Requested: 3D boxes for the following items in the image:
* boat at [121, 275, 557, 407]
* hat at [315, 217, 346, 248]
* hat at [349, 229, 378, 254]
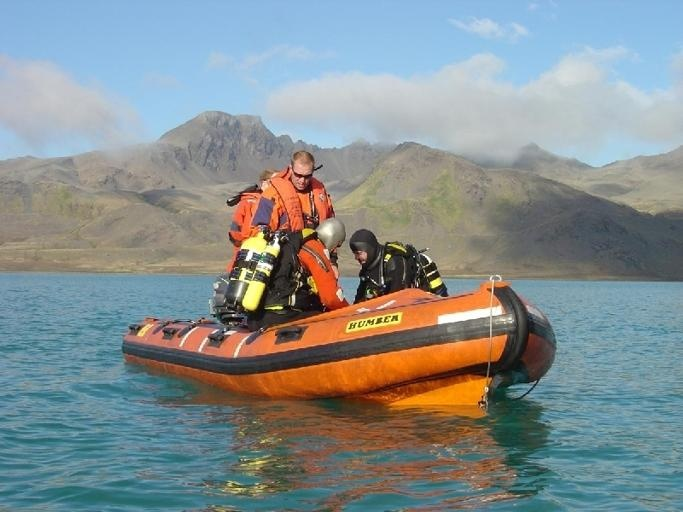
[{"bbox_3d":[-0.052,1.623,13.046,6.843,1.287,3.026,-2,-11,30],"label":"boat"},{"bbox_3d":[-0.220,-0.393,12.770,0.522,0.597,0.419,3,0,-2],"label":"hat"},{"bbox_3d":[0.388,-0.271,13.002,0.466,0.433,0.474,3,0,15],"label":"hat"}]
